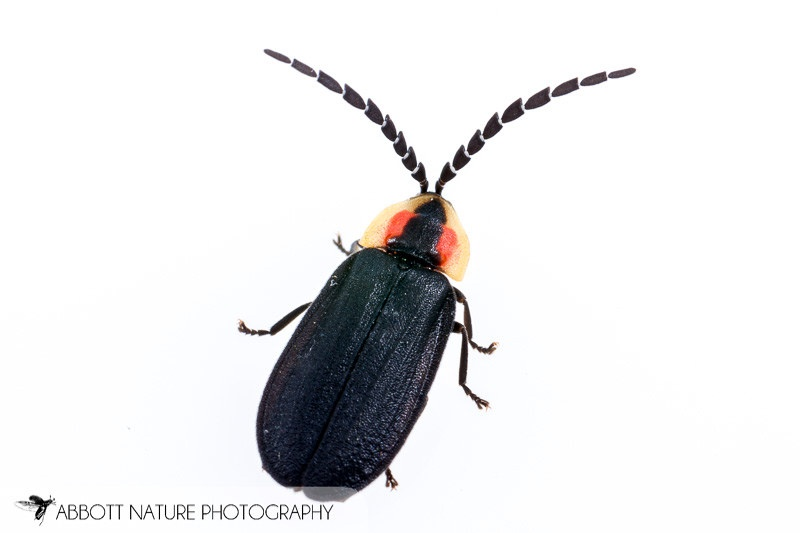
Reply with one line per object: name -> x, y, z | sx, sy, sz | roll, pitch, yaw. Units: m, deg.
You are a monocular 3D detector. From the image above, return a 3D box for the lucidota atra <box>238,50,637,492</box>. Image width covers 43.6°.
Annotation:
lucidota atra -> -0.141, 0.144, 8.540 | 1.951, 3.532, 0.960 | 5, -22, 3
